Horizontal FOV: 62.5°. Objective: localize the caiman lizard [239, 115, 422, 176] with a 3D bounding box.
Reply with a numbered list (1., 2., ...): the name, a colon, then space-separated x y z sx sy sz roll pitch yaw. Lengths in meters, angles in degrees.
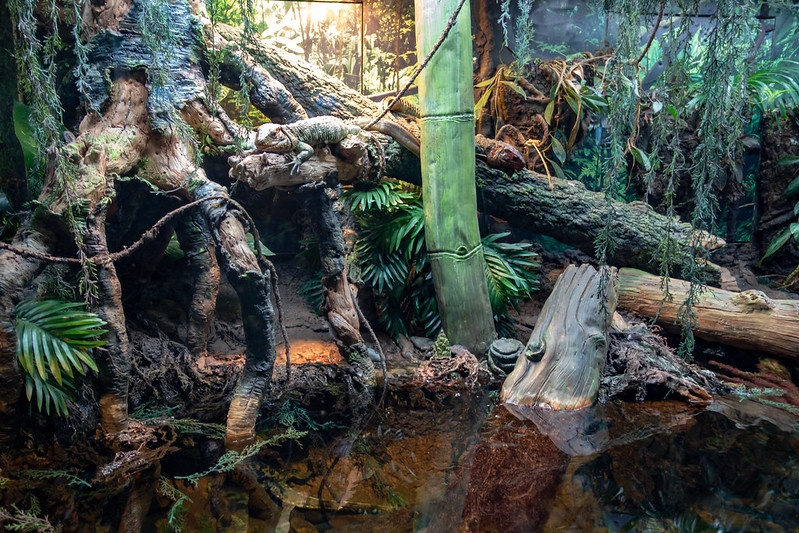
1. caiman lizard: -0.780 -1.200 6.264 0.795 0.237 1.175 18 21 38
